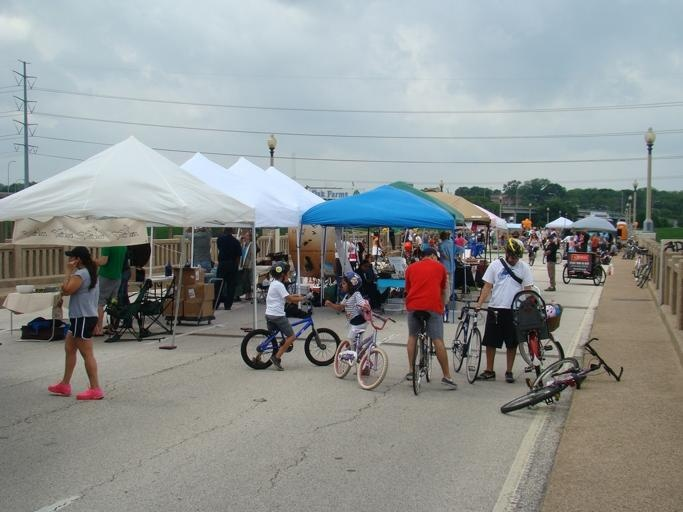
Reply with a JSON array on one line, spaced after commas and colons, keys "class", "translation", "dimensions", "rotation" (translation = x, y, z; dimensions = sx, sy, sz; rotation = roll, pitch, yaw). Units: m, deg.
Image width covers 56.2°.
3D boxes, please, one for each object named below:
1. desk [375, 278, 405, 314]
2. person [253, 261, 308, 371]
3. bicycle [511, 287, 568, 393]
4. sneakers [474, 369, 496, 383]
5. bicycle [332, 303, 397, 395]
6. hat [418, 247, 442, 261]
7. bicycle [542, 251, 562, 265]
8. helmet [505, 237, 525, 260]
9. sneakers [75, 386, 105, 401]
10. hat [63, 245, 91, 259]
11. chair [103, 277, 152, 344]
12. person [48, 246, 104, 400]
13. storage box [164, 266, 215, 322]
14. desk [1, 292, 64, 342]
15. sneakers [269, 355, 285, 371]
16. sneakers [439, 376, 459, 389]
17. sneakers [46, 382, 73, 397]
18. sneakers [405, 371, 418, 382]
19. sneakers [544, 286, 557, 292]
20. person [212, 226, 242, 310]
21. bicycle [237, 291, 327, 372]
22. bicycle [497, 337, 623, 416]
[{"class": "desk", "translation": [1.492, 1.122, 18.260], "dimensions": [0.877, 0.722, 0.895], "rotation": [1, 3, 20]}, {"class": "person", "translation": [-1.038, 1.042, 10.931], "dimensions": [0.489, 1.855, 0.311], "rotation": [0, 5, -6]}, {"class": "bicycle", "translation": [3.086, 1.227, 10.631], "dimensions": [0.928, 1.124, 1.745], "rotation": [-9, -4, 14]}, {"class": "sneakers", "translation": [2.398, 1.976, 10.528], "dimensions": [0.402, 0.180, 0.151], "rotation": [2, -2, -14]}, {"class": "bicycle", "translation": [0.478, 1.688, 10.434], "dimensions": [0.687, 0.953, 1.408], "rotation": [11, -7, -27]}, {"class": "hat", "translation": [1.410, -0.037, 10.172], "dimensions": [0.247, 0.189, 0.476], "rotation": [1, 4, 1]}, {"class": "bicycle", "translation": [10.138, 0.127, 30.540], "dimensions": [0.948, 0.715, 0.241], "rotation": [0, 2, 9]}, {"class": "helmet", "translation": [2.771, -0.140, 10.047], "dimensions": [0.237, 0.314, 0.339], "rotation": [-4, 15, -8]}, {"class": "sneakers", "translation": [-3.590, 1.948, 9.123], "dimensions": [0.337, 0.172, 0.169], "rotation": [1, 0, 5]}, {"class": "hat", "translation": [-3.896, -0.052, 9.319], "dimensions": [0.366, 0.200, 0.266], "rotation": [3, -2, 1]}, {"class": "chair", "translation": [-4.824, 1.229, 13.950], "dimensions": [1.158, 1.522, 1.044], "rotation": [1, -3, -13]}, {"class": "person", "translation": [-3.836, 0.946, 9.263], "dimensions": [0.638, 2.135, 0.841], "rotation": [-2, 5, -25]}, {"class": "storage box", "translation": [-3.657, 0.952, 15.243], "dimensions": [1.131, 1.583, 0.929], "rotation": [3, 7, 12]}, {"class": "desk", "translation": [-6.434, 1.178, 13.808], "dimensions": [1.133, 0.898, 1.169], "rotation": [1, 3, 3]}, {"class": "sneakers", "translation": [-1.110, 1.891, 11.101], "dimensions": [0.162, 0.123, 0.369], "rotation": [-23, -41, 2]}, {"class": "sneakers", "translation": [1.712, 1.966, 10.057], "dimensions": [0.253, 0.208, 0.383], "rotation": [1, 4, 10]}, {"class": "sneakers", "translation": [-4.122, 1.903, 9.284], "dimensions": [0.401, 0.208, 0.149], "rotation": [4, 11, 18]}, {"class": "sneakers", "translation": [1.093, 1.877, 9.928], "dimensions": [0.141, 0.073, 0.239], "rotation": [-2, -4, 0]}, {"class": "sneakers", "translation": [8.011, 1.264, 24.346], "dimensions": [0.497, 0.224, 0.172], "rotation": [1, 5, 41]}, {"class": "person", "translation": [-3.164, 0.410, 17.887], "dimensions": [0.737, 2.316, 1.467], "rotation": [0, 5, -9]}, {"class": "bicycle", "translation": [-1.056, 1.342, 11.638], "dimensions": [1.886, 1.265, 0.997], "rotation": [-4, 6, -11]}, {"class": "bicycle", "translation": [3.309, 1.707, 9.575], "dimensions": [1.282, 1.107, 2.174], "rotation": [-12, 7, 29]}]
